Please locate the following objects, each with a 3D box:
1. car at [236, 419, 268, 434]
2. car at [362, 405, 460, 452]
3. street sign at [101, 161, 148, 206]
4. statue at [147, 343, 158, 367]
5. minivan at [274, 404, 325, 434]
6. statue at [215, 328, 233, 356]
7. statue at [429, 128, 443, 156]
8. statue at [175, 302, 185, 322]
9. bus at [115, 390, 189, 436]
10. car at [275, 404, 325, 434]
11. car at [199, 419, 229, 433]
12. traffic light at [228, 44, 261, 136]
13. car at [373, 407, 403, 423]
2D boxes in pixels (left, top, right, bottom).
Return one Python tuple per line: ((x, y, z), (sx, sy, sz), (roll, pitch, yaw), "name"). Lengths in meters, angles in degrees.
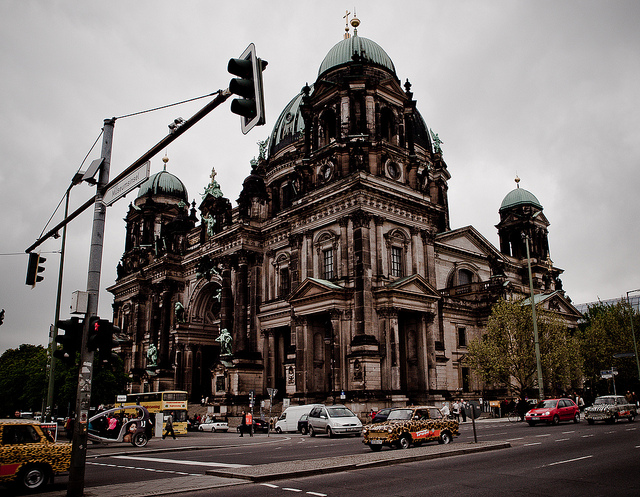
((-5.213, 13.759, 49.957), (2.118, 1.101, 1.354), (1, -24, 5), "car")
((4.392, 8.761, 30.919), (5.102, 2.384, 1.693), (13, -24, -33), "car")
((-6.801, -2.200, 22.321), (2.353, 0.774, 0.101), (-28, -34, 23), "street sign")
((-20.047, 12.885, 76.324), (1.126, 2.928, 1.244), (5, -21, -15), "statue")
((-1.546, 13.035, 48.909), (4.389, 2.285, 2.194), (-13, -23, 37), "minivan")
((-9.382, 9.425, 63.629), (1.225, 3.007, 1.513), (3, -20, -10), "statue")
((15.879, -14.588, 87.302), (1.138, 4.124, 3.387), (-5, -21, 12), "statue")
((-16.984, 7.843, 77.293), (0.729, 2.471, 1.197), (-10, -22, 24), "statue")
((-14.764, 14.401, 55.130), (2.698, 3.845, 8.602), (8, -16, -42), "bus")
((-1.433, 13.087, 48.576), (3.766, 1.965, 1.882), (-13, -24, 35), "car")
((-9.532, 15.949, 56.786), (1.193, 0.950, 2.638), (18, -25, -42), "car")
((-2.036, -4.311, 17.161), (0.623, 2.285, 0.993), (6, -21, -33), "traffic light")
((3.708, 9.915, 37.562), (1.053, 0.851, 2.379), (-12, -13, 33), "car")
